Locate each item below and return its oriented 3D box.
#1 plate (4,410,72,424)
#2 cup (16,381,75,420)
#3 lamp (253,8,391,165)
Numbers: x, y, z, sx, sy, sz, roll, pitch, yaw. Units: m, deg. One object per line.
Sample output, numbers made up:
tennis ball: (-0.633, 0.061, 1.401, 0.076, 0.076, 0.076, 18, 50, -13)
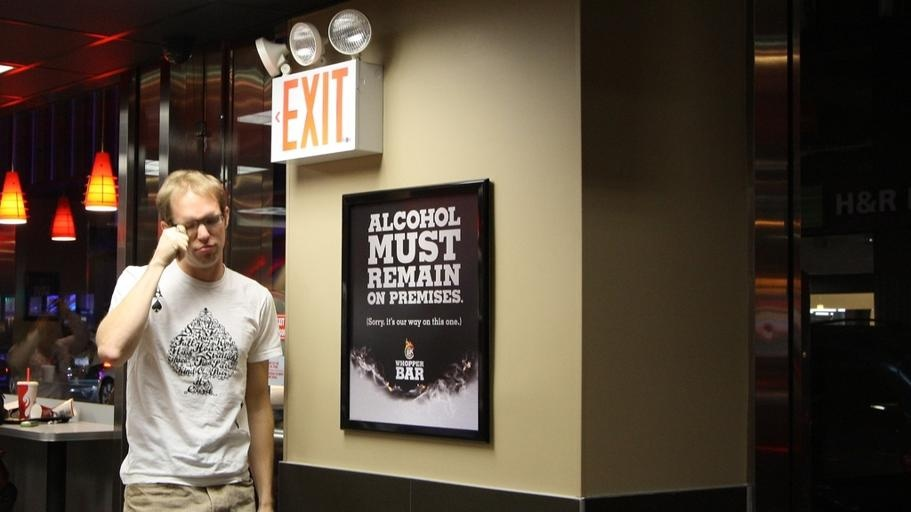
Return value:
plate: (-3.719, 1.438, 6.477, 0.558, 0.111, 0.172, -1, -3, -6)
cup: (-3.638, 1.330, 6.674, 0.571, 0.356, 0.253, 5, -10, -22)
lamp: (-0.951, -1.128, 5.043, 1.017, 0.893, 0.327, -1, -1, 36)
